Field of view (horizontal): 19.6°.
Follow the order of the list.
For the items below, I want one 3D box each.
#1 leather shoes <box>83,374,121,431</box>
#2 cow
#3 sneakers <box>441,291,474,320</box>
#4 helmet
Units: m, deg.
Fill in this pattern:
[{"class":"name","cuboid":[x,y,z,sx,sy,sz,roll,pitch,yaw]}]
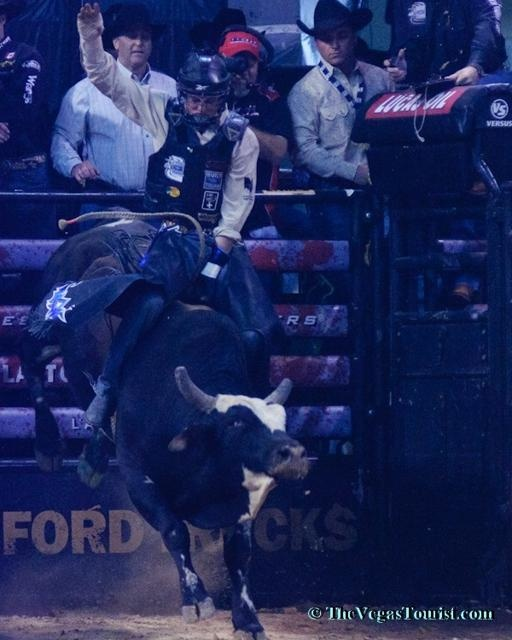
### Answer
[{"class":"leather shoes","cuboid":[-0.918,0.494,8.994,0.228,0.313,0.111,-1,9,9]},{"class":"cow","cuboid":[-0.427,0.548,8.854,0.954,2.279,1.932,-4,5,-44]},{"class":"sneakers","cuboid":[1.318,-0.102,9.714,0.171,0.226,0.311,-6,1,7]},{"class":"helmet","cuboid":[-0.330,-1.483,9.243,0.320,0.390,0.373,2,-36,-1]}]
